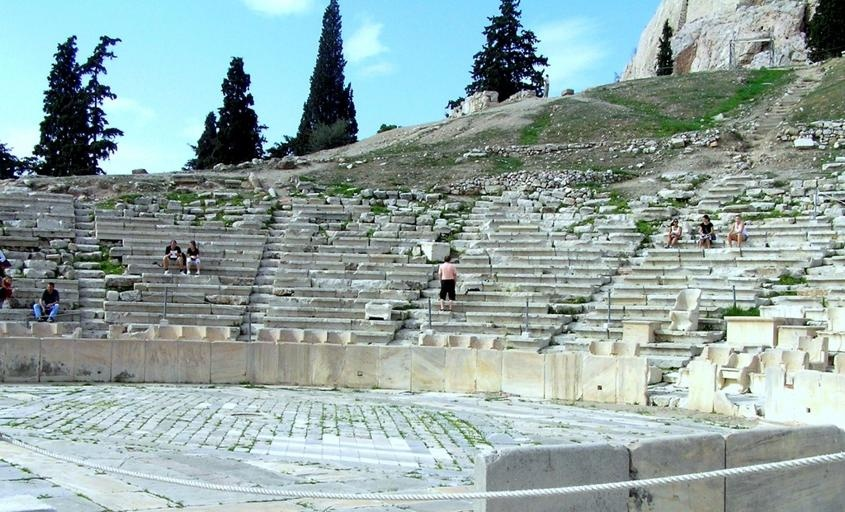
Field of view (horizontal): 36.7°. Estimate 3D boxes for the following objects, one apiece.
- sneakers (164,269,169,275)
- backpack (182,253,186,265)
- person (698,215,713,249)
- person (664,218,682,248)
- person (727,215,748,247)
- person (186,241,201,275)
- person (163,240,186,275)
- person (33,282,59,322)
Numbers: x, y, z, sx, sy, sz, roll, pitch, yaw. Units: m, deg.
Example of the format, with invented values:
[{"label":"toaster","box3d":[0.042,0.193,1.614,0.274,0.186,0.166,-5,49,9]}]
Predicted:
[{"label":"sneakers","box3d":[-11.198,0.700,55.689,0.258,0.135,0.242,20,23,15]},{"label":"backpack","box3d":[-10.466,0.135,55.834,0.129,0.382,0.429,-4,-2,-2]},{"label":"person","box3d":[12.369,-1.084,55.485,0.736,1.475,1.147,0,-4,12]},{"label":"person","box3d":[11.033,-1.003,56.068,0.717,1.314,1.287,0,-4,10]},{"label":"person","box3d":[13.517,-1.085,54.848,0.690,1.415,1.089,-1,-4,25]},{"label":"person","box3d":[-10.059,0.088,55.977,0.659,1.495,0.992,2,-4,-10]},{"label":"person","box3d":[-10.886,0.028,55.925,1.116,1.451,0.568,1,-4,2]},{"label":"person","box3d":[-15.641,1.887,53.159,0.998,1.643,1.197,2,-4,-15]}]
